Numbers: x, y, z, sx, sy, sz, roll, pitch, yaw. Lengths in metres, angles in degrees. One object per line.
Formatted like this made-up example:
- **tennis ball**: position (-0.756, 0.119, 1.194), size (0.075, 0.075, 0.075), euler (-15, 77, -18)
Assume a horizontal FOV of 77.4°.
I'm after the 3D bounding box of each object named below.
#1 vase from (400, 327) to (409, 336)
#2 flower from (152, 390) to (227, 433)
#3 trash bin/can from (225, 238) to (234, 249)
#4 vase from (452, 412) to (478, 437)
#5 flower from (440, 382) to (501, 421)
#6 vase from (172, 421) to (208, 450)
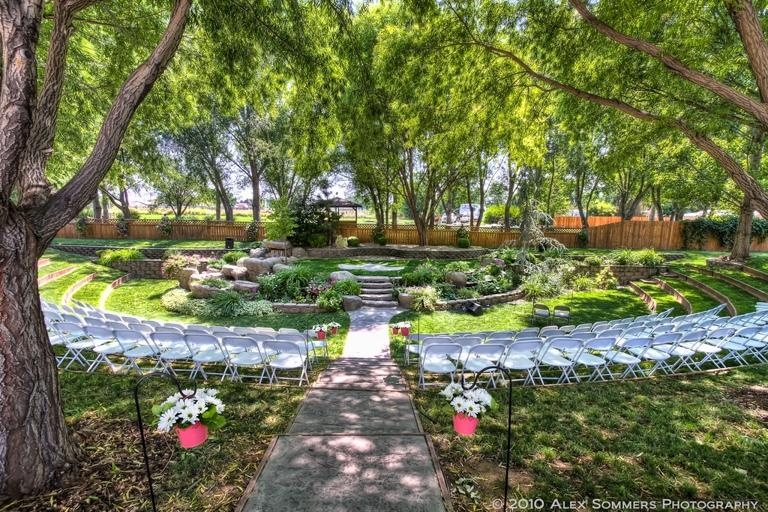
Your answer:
- **vase**: position (0.553, 1.936, 12.447), size (0.254, 0.243, 0.251), euler (0, -1, 8)
- **flower**: position (-3.309, 2.591, 8.275), size (0.897, 0.363, 0.877), euler (1, 13, -14)
- **trash bin/can**: position (-7.254, -0.775, 22.480), size (0.329, 0.470, 0.823), euler (-2, 3, -20)
- **vase**: position (1.403, 2.968, 8.593), size (0.495, 0.357, 0.492), euler (2, -5, -20)
- **flower**: position (1.553, 2.546, 8.526), size (0.745, 0.335, 0.792), euler (-10, 28, -18)
- **vase**: position (-3.339, 3.102, 8.268), size (0.515, 0.372, 0.516), euler (-3, -3, 41)
